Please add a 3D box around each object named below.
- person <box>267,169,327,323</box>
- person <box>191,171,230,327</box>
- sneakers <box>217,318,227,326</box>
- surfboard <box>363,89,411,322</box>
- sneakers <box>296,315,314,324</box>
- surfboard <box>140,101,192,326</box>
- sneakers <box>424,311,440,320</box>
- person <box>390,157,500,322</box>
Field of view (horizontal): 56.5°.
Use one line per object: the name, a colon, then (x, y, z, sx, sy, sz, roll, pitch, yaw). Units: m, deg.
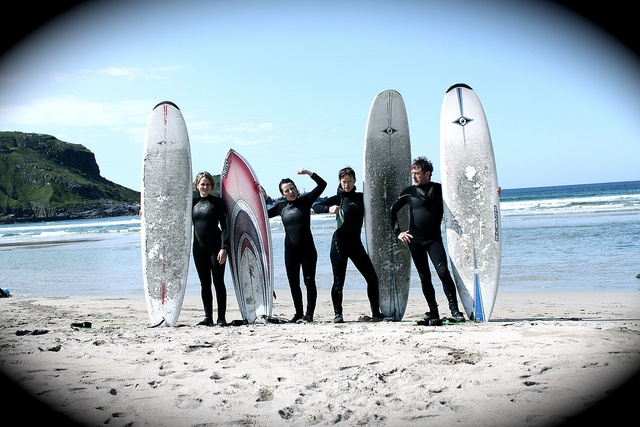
person: (-0.286, 0.425, 7.909, 0.775, 2.013, 0.378, -1, 4, 24)
person: (-1.466, 0.476, 8.052, 0.477, 2.064, 0.618, -3, 4, -9)
sneakers: (-1.282, 1.431, 7.885, 0.131, 0.079, 0.245, -3, 4, -9)
surfboard: (1.013, -0.396, 8.314, 0.776, 0.373, 3.862, -6, 42, 10)
sneakers: (-0.184, 1.397, 7.891, 0.221, 0.090, 0.092, 5, -11, -5)
surfboard: (-2.120, 0.007, 8.246, 0.698, 3.135, 0.348, 0, -2, 5)
sneakers: (1.432, 1.295, 7.612, 0.220, 0.085, 0.178, 0, 4, 31)
person: (1.377, 0.328, 7.710, 0.913, 2.098, 0.597, -2, 4, 6)
